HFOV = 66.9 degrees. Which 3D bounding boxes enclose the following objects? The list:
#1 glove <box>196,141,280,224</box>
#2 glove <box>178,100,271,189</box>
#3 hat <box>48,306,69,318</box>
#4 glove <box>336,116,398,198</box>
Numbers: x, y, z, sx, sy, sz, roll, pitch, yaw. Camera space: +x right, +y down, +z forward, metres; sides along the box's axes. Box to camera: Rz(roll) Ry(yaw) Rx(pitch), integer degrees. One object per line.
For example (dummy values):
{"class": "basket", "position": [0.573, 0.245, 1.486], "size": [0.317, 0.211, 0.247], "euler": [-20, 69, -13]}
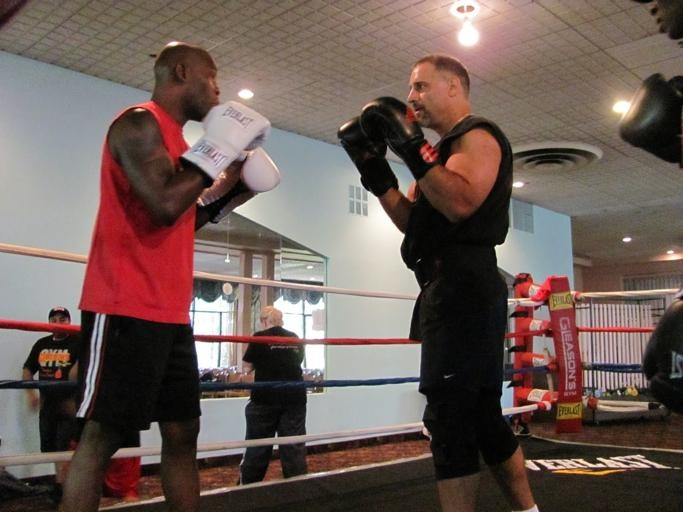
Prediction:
{"class": "glove", "position": [-0.301, -0.179, 1.472], "size": [0.256, 0.101, 0.194], "euler": [-23, 12, 33]}
{"class": "glove", "position": [-0.286, -0.263, 1.352], "size": [0.226, 0.187, 0.094], "euler": [-43, -14, -20]}
{"class": "hat", "position": [-1.909, 0.382, 3.527], "size": [0.096, 0.062, 0.124], "euler": [-2, -32, -13]}
{"class": "glove", "position": [0.131, -0.301, 1.675], "size": [0.115, 0.280, 0.170], "euler": [-46, 30, -24]}
